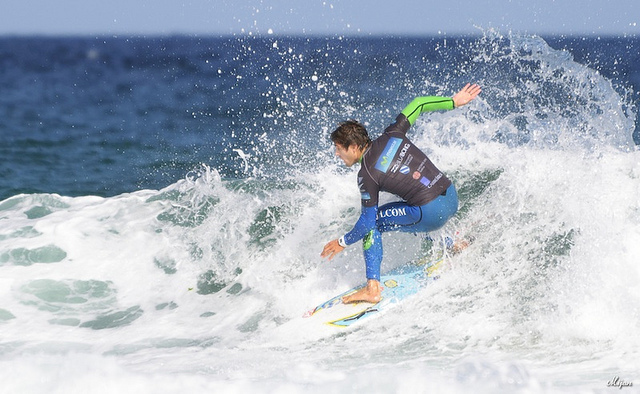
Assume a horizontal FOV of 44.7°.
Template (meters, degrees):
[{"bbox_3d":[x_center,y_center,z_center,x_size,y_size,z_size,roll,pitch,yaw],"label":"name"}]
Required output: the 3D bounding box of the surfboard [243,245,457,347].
[{"bbox_3d":[0.858,2.366,18.004,3.639,0.480,0.851,-27,63,-9],"label":"surfboard"}]
